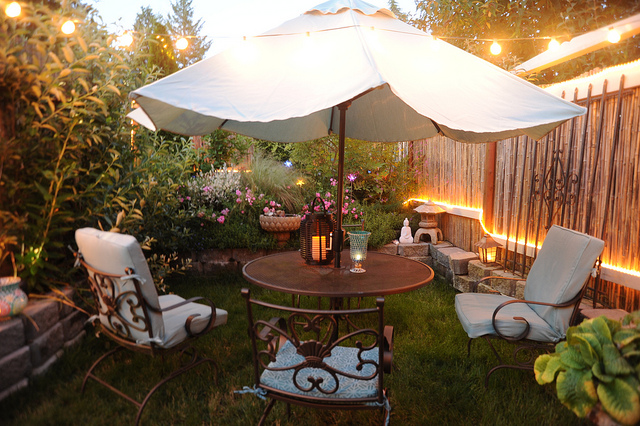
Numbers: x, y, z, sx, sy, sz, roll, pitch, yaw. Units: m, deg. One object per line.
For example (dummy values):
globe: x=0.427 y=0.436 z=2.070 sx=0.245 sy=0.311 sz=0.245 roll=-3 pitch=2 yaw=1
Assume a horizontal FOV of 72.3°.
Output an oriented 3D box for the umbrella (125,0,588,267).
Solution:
umbrella: x=-0.028 y=-1.075 z=4.196 sx=3.091 sy=2.302 sz=3.128 roll=-2 pitch=7 yaw=-23

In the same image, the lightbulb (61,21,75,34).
lightbulb: x=-2.016 y=-1.486 z=3.503 sx=0.088 sy=0.090 sz=0.107 roll=-8 pitch=18 yaw=-19

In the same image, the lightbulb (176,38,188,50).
lightbulb: x=-1.529 y=-1.875 z=4.847 sx=0.123 sy=0.106 sz=0.125 roll=-9 pitch=19 yaw=-24

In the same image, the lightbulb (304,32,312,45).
lightbulb: x=-0.098 y=-1.374 z=3.445 sx=0.060 sy=0.096 sz=0.114 roll=-5 pitch=17 yaw=-11

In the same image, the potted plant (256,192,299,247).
potted plant: x=-0.591 y=0.249 z=6.639 sx=0.514 sy=0.522 sz=0.537 roll=4 pitch=-7 yaw=-26

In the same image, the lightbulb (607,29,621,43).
lightbulb: x=2.949 y=-1.775 z=4.424 sx=0.107 sy=0.138 sz=0.112 roll=2 pitch=7 yaw=28

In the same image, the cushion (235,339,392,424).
cushion: x=0.030 y=1.093 z=3.300 sx=0.975 sy=0.612 sz=0.591 roll=2 pitch=17 yaw=11

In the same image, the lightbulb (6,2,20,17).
lightbulb: x=-2.227 y=-1.474 z=3.176 sx=0.085 sy=0.112 sz=0.088 roll=11 pitch=23 yaw=37

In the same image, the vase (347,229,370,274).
vase: x=0.331 y=0.345 z=3.860 sx=0.221 sy=0.347 sz=0.208 roll=1 pitch=4 yaw=-9

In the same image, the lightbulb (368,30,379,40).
lightbulb: x=0.412 y=-1.401 z=3.437 sx=0.086 sy=0.070 sz=0.095 roll=6 pitch=0 yaw=6

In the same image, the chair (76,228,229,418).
chair: x=-1.555 y=0.846 z=4.039 sx=1.208 sy=1.525 sz=1.399 roll=-1 pitch=10 yaw=-2

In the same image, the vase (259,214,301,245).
vase: x=-0.592 y=0.256 z=6.713 sx=0.630 sy=0.539 sz=0.697 roll=-2 pitch=7 yaw=-14

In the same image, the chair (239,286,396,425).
chair: x=-0.028 y=1.176 z=3.504 sx=0.810 sy=1.149 sz=0.742 roll=3 pitch=26 yaw=12

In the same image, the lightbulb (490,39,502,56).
lightbulb: x=2.121 y=-2.008 z=5.302 sx=0.097 sy=0.153 sz=0.418 roll=5 pitch=19 yaw=22

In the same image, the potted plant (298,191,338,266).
potted plant: x=-0.021 y=0.172 z=4.059 sx=0.326 sy=0.610 sz=0.324 roll=-5 pitch=9 yaw=-36

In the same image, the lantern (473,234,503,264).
lantern: x=2.176 y=0.460 z=5.701 sx=0.325 sy=0.393 sz=0.346 roll=0 pitch=4 yaw=14

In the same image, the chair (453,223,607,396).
chair: x=1.937 y=0.860 z=4.207 sx=1.351 sy=1.356 sz=1.316 roll=-3 pitch=3 yaw=-24
